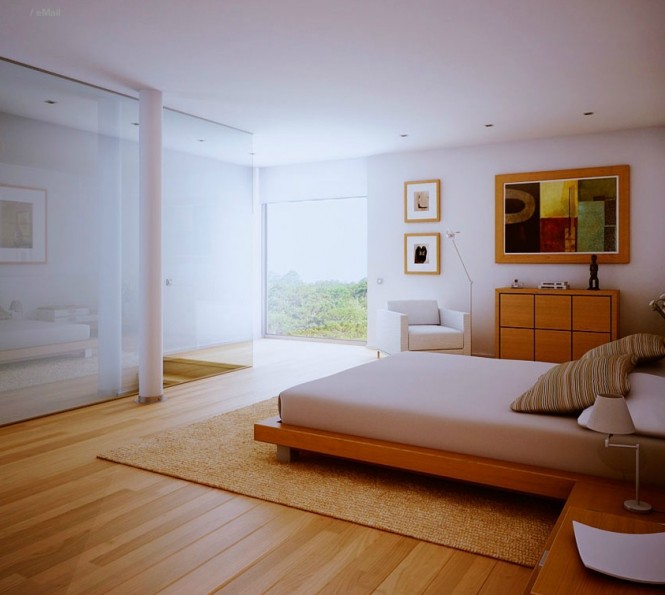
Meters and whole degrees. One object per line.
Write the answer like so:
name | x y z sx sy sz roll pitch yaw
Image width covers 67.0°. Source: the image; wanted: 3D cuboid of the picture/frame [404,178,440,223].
picture/frame | 1.231 -1.327 6.828 0.578 0.637 0.041 0 -1 31

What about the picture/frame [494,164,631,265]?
picture/frame | 2.826 -1.008 6.043 1.197 1.004 0.050 0 0 28

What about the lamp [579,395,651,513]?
lamp | 1.052 0.579 1.869 0.243 0.394 0.182 1 -4 35

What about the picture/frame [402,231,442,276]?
picture/frame | 1.238 -0.601 6.855 0.562 0.653 0.064 -1 -4 28
